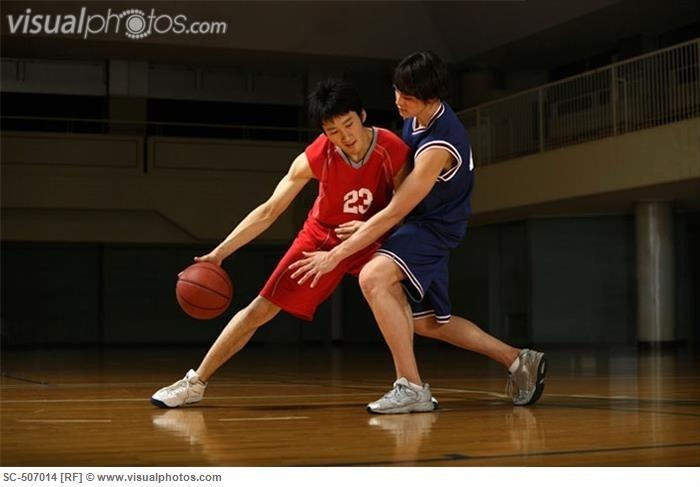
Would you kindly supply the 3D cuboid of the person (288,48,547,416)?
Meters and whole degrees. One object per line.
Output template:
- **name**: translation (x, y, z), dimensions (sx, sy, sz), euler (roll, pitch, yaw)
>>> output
- **person**: translation (0.343, -0.038, 2.918), dimensions (1.157, 1.605, 0.442), euler (4, -4, -24)

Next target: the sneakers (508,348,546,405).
- **sneakers**: translation (0.839, 0.632, 2.962), dimensions (0.134, 0.323, 0.136), euler (3, 30, 7)

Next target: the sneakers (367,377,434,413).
- **sneakers**: translation (0.249, 0.690, 2.852), dimensions (0.343, 0.179, 0.123), euler (0, -7, -11)

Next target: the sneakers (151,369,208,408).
- **sneakers**: translation (-0.843, 0.708, 2.939), dimensions (0.311, 0.126, 0.168), euler (-7, -30, -27)
